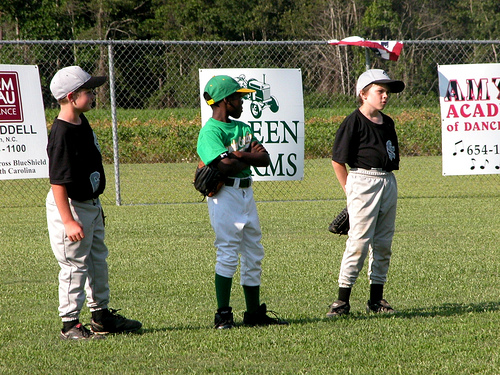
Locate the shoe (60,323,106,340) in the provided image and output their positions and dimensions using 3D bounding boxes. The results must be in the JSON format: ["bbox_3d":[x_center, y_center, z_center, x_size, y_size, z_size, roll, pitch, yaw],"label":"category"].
[{"bbox_3d":[-1.777,1.547,9.633,0.503,0.228,0.193,-1,0,0],"label":"shoe"}]

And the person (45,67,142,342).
[{"bbox_3d":[-1.798,0.178,9.533,0.731,2.843,0.636,-4,11,-15],"label":"person"}]

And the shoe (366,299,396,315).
[{"bbox_3d":[1.469,1.360,10.169,0.347,0.175,0.137,-2,1,17],"label":"shoe"}]

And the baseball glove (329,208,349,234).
[{"bbox_3d":[1.042,0.412,10.391,0.094,0.280,0.219,28,2,13],"label":"baseball glove"}]

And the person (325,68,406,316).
[{"bbox_3d":[1.302,0.057,10.158,0.754,2.697,0.755,0,11,3],"label":"person"}]

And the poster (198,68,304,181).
[{"bbox_3d":[0.038,-1.032,14.379,1.704,2.001,0.039,0,-15,-6],"label":"poster"}]

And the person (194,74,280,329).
[{"bbox_3d":[-0.201,0.162,9.776,0.812,2.693,0.573,-1,11,-1],"label":"person"}]

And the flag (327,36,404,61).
[{"bbox_3d":[1.917,-2.319,14.810,1.177,0.458,0.336,8,-17,5],"label":"flag"}]

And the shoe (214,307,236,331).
[{"bbox_3d":[-0.266,1.399,9.857,0.201,0.325,0.345,-6,31,3],"label":"shoe"}]

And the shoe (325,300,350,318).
[{"bbox_3d":[0.992,1.373,10.094,0.350,0.163,0.118,1,-3,-34],"label":"shoe"}]

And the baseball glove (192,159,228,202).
[{"bbox_3d":[-0.435,-0.088,9.689,0.375,0.414,0.183,0,11,3],"label":"baseball glove"}]

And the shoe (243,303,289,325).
[{"bbox_3d":[0.181,1.419,9.980,0.502,0.257,0.186,1,-2,-11],"label":"shoe"}]

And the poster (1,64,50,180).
[{"bbox_3d":[-3.592,-1.007,14.078,0.742,1.838,0.414,-4,11,-15],"label":"poster"}]
